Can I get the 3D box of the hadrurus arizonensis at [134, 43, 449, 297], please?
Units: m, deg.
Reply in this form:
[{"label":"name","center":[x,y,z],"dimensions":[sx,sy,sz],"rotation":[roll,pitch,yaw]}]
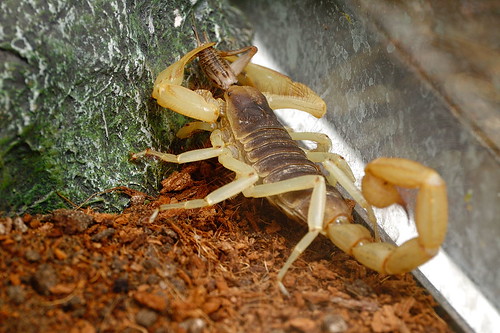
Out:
[{"label":"hadrurus arizonensis","center":[0.284,-0.016,3.432],"dimensions":[2.218,0.897,1.294],"rotation":[34,35,23]}]
